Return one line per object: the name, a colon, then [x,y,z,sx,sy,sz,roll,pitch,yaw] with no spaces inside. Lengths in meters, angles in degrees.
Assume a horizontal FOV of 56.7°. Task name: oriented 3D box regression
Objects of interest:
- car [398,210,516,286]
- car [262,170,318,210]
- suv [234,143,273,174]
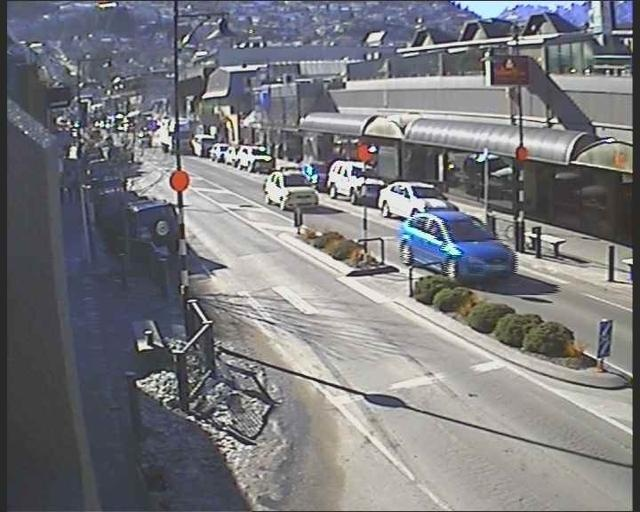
car: [4.766,-0.321,21.364,2.253,1.761,4.712,-6,10,-22]
car: [-1.677,-3.749,33.307,1.876,1.752,3.465,-6,12,-23]
suv: [-5.054,-7.419,45.711,0.935,2.091,4.007,-13,16,-35]
